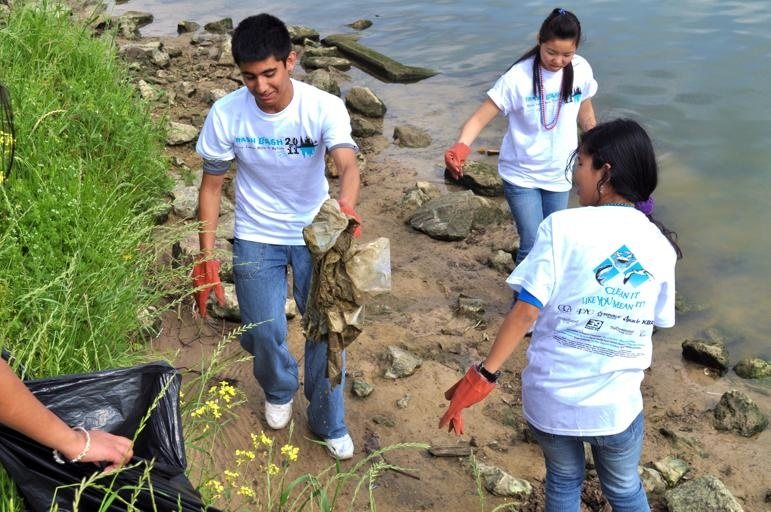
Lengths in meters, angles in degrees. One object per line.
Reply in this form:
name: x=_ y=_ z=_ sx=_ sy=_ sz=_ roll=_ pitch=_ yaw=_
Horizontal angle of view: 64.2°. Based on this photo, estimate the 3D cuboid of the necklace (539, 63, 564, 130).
necklace: x=1.529 y=-1.438 z=5.733 sx=0.265 sy=0.476 sz=0.079 roll=1 pitch=24 yaw=7

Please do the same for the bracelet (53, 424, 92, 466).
bracelet: x=-1.712 y=1.031 z=3.382 sx=0.177 sy=0.201 sz=0.075 roll=-19 pitch=0 yaw=-23

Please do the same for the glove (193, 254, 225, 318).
glove: x=-1.403 y=0.241 z=4.944 sx=0.220 sy=0.446 sz=0.293 roll=2 pitch=-18 yaw=-41

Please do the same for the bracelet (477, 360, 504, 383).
bracelet: x=0.699 y=0.759 z=4.135 sx=0.112 sy=0.095 sz=0.153 roll=27 pitch=21 yaw=-18

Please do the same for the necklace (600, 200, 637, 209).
necklace: x=1.491 y=-0.317 z=3.922 sx=0.209 sy=0.054 sz=0.105 roll=2 pitch=29 yaw=13

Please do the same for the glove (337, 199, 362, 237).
glove: x=-0.248 y=-0.283 z=4.536 sx=0.187 sy=0.238 sz=0.214 roll=-3 pitch=-1 yaw=-33
